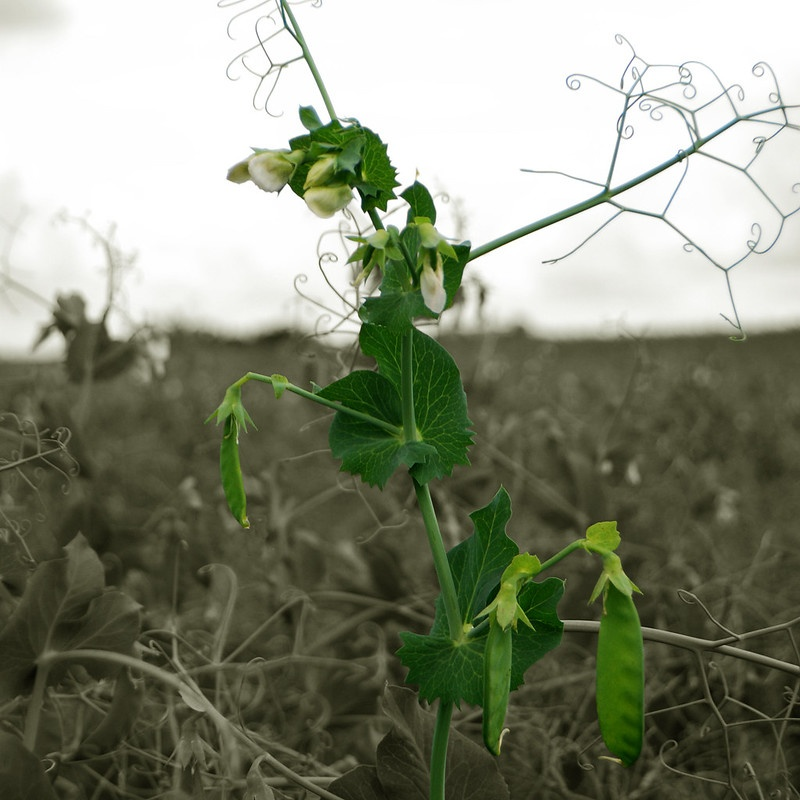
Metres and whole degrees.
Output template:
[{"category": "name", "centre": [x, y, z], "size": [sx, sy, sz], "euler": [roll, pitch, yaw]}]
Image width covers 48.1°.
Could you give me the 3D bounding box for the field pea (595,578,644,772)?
[{"category": "field pea", "centre": [0.152, 0.193, 0.612], "size": [0.034, 0.151, 0.009], "euler": [2, 23, 23]}]

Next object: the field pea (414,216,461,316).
[{"category": "field pea", "centre": [0.022, -0.095, 0.640], "size": [0.033, 0.063, 0.027], "euler": [-6, -6, -29]}]

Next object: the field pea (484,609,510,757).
[{"category": "field pea", "centre": [0.069, 0.200, 0.640], "size": [0.021, 0.085, 0.083], "euler": [9, 3, 9]}]

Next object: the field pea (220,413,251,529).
[{"category": "field pea", "centre": [-0.129, 0.061, 0.709], "size": [0.023, 0.098, 0.022], "euler": [-2, 9, -26]}]
